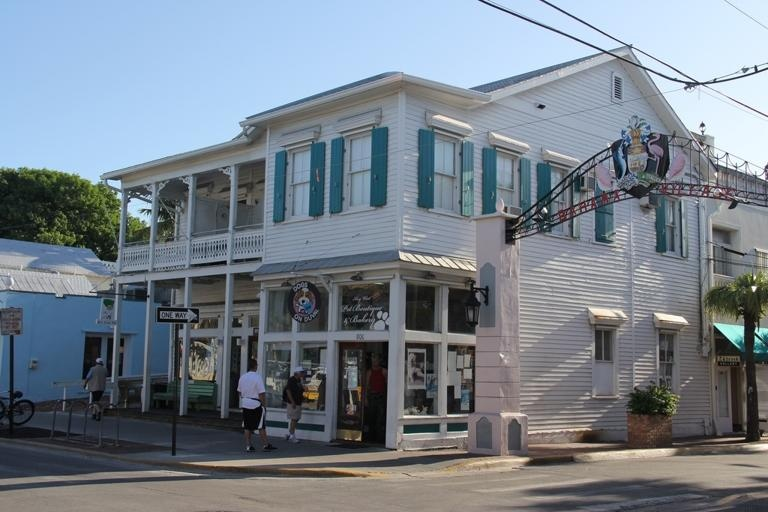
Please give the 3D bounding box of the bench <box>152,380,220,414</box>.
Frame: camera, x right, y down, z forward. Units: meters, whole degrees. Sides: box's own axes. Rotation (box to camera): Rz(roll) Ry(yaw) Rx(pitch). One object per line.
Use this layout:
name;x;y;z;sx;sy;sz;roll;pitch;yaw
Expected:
bench;-7.904;5.502;33.990;2.833;1.001;0.898;-2;-7;21

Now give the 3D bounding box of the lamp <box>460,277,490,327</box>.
lamp;2.715;1.435;25.021;0.703;1.224;0.554;3;-15;-3

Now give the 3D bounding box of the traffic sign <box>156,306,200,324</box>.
traffic sign;-5.739;1.608;23.604;0.923;0.593;1.086;1;-15;3

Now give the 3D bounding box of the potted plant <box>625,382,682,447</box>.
potted plant;8.867;5.589;28.116;1.744;2.211;2.191;-7;-36;26

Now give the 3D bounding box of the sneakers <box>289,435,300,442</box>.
sneakers;-2.811;5.688;26.269;0.166;0.123;0.289;5;-9;-41

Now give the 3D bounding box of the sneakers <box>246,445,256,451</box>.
sneakers;-3.819;5.529;24.205;0.231;0.158;0.402;4;-15;-10

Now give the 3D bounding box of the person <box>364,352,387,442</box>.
person;-0.273;4.384;26.022;0.636;2.641;0.606;2;-15;-1

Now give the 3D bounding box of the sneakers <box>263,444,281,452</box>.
sneakers;-3.237;5.559;24.488;0.381;0.158;0.138;0;-3;4

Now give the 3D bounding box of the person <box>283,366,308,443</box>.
person;-2.815;4.616;26.501;0.622;2.332;1.172;3;-15;-5
